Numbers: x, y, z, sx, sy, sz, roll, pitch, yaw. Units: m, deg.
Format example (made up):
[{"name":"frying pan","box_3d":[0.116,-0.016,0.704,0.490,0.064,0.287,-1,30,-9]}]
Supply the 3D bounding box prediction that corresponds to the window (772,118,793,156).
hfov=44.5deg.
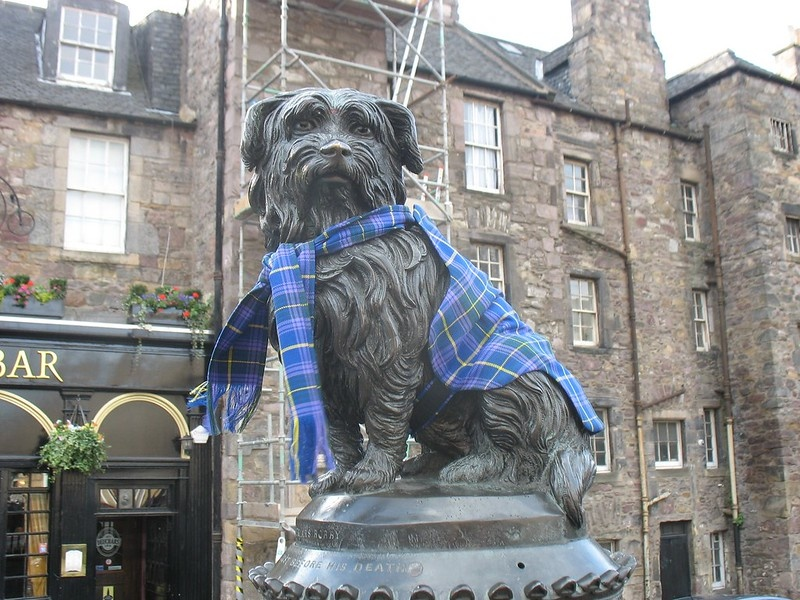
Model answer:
[{"name":"window","box_3d":[8.985,-3.831,23.055,0.907,1.025,0.086,8,-16,-36]}]

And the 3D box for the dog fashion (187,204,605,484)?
[{"name":"dog fashion","box_3d":[0.129,0.381,9.193,3.751,2.194,2.401,6,-8,-29]}]

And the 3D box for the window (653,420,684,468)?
[{"name":"window","box_3d":[5.884,3.198,21.493,1.034,1.185,0.092,3,-20,-26]}]

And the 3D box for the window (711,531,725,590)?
[{"name":"window","box_3d":[6.940,5.722,21.551,0.383,1.152,0.063,-19,-38,38]}]

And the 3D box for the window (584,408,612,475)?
[{"name":"window","box_3d":[4.098,2.933,20.733,0.751,1.363,0.109,2,-10,-17]}]
